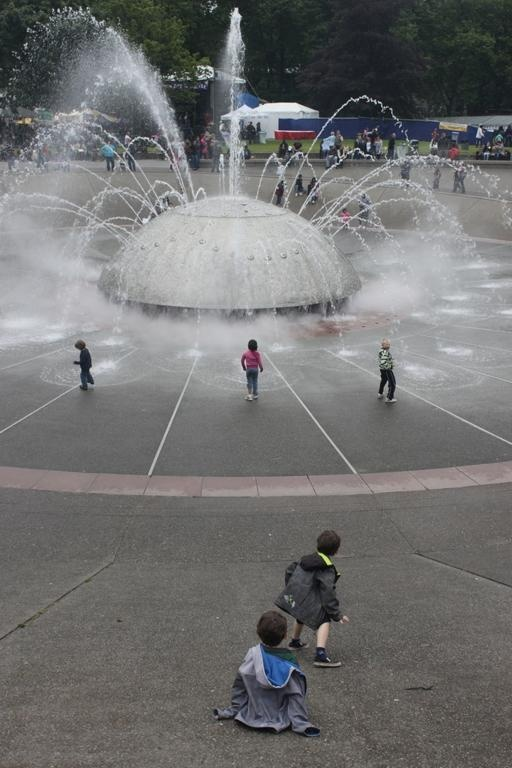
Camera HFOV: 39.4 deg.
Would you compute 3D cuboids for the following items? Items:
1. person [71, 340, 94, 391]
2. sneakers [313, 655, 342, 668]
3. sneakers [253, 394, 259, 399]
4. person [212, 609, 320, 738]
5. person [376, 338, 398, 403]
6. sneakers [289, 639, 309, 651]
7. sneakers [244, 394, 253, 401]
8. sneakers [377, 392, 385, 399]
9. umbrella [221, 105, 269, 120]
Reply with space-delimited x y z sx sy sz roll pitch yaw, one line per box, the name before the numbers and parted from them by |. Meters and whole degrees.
person | -3.285 -0.379 13.707 0.330 0.975 1.573 -1 9 -13
sneakers | 0.531 2.058 5.305 0.192 0.085 0.080 1 -3 -1
sneakers | -0.012 0.245 13.091 0.067 0.075 0.162 -3 -4 4
person | 0.083 1.842 4.605 0.691 0.713 0.414 2 -12 21
person | 2.407 -0.224 13.062 0.324 1.161 0.839 2 8 10
sneakers | 0.335 2.074 5.679 0.162 0.081 0.067 -2 18 -16
sneakers | -0.134 0.256 13.095 0.062 0.081 0.179 0 12 -12
sneakers | 2.307 0.232 13.222 0.049 0.070 0.152 -6 28 20
umbrella | -0.868 -20.890 55.438 2.830 1.300 2.903 -19 33 -28
